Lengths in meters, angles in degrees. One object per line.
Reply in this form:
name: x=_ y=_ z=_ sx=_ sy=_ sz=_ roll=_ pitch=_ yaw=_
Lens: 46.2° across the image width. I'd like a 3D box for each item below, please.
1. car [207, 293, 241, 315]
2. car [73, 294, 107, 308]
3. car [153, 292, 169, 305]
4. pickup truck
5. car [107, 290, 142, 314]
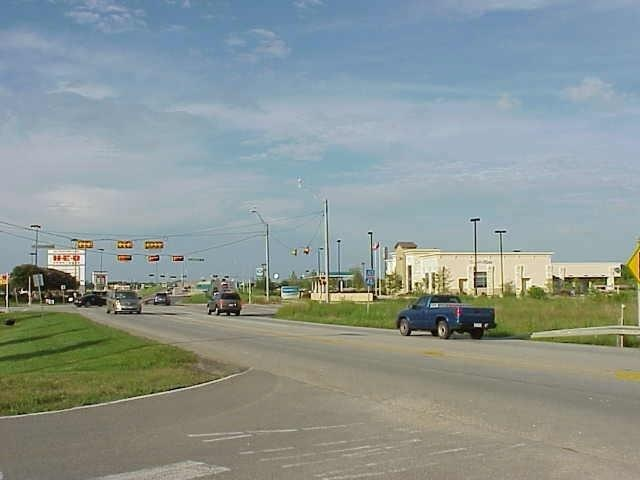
car: x=-7.429 y=4.725 z=57.211 sx=1.436 sy=1.178 sz=2.873 roll=2 pitch=0 yaw=-24
car: x=-23.460 y=6.228 z=77.748 sx=1.413 sy=1.002 sz=3.078 roll=0 pitch=1 yaw=43
car: x=-17.849 y=6.663 z=84.194 sx=1.274 sy=1.069 sz=2.267 roll=1 pitch=1 yaw=-12
pickup truck: x=5.286 y=3.196 z=31.604 sx=1.857 sy=1.325 sz=3.794 roll=4 pitch=-3 yaw=-31
car: x=-15.267 y=4.734 z=57.827 sx=1.571 sy=1.095 sz=3.274 roll=2 pitch=-8 yaw=-24
